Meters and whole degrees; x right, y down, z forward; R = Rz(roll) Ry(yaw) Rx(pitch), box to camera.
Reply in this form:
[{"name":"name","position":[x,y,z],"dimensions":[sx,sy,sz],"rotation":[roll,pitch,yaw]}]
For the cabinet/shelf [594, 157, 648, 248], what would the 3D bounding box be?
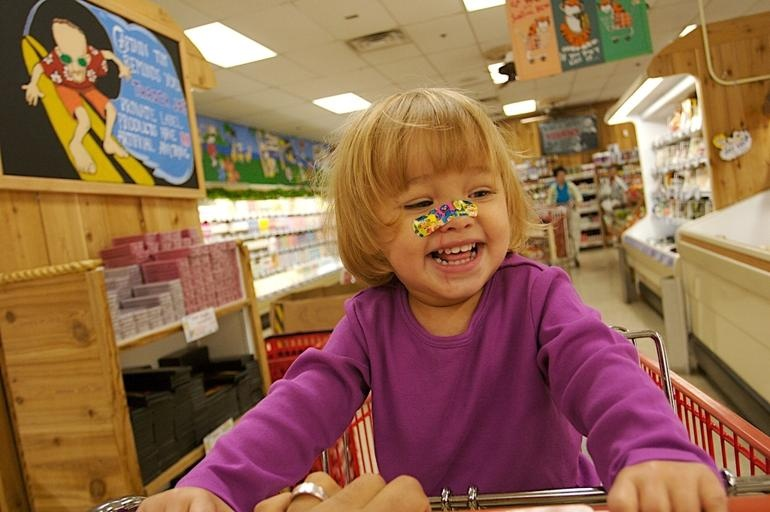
[{"name":"cabinet/shelf","position":[5.364,-1.558,12.261],"dimensions":[1.040,1.937,0.620],"rotation":[-13,28,7]}]
